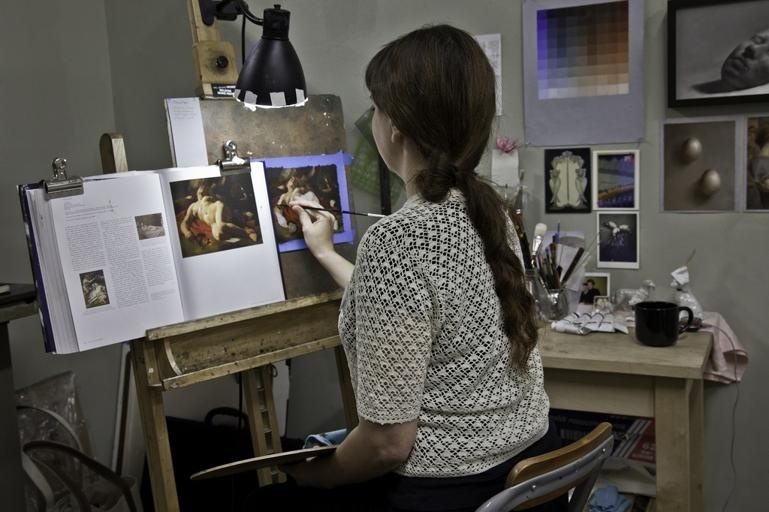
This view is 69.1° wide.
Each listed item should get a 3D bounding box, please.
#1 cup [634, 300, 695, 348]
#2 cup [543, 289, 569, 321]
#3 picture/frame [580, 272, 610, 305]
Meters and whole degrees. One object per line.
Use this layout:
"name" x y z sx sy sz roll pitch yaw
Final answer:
"cup" 1.001 0.246 2.021 0.188 0.144 0.145 1 -2 8
"cup" 0.686 0.199 2.309 0.109 0.132 0.113 -2 5 0
"picture/frame" 0.891 0.136 2.363 0.128 0.160 0.016 1 2 10
